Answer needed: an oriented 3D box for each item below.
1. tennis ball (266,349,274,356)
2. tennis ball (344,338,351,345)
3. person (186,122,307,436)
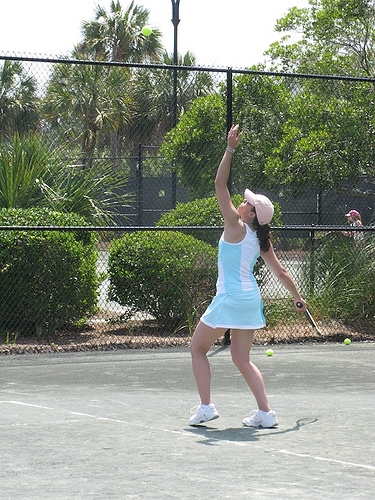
[{"bbox_3d":[0.923,1.149,8.800,0.048,0.047,0.051,-6,19,2],"label":"tennis ball"},{"bbox_3d":[1.997,1.134,9.778,0.059,0.064,0.064,-5,30,3],"label":"tennis ball"},{"bbox_3d":[0.370,0.158,5.256,0.788,2.018,0.543,0,-1,-13],"label":"person"}]
